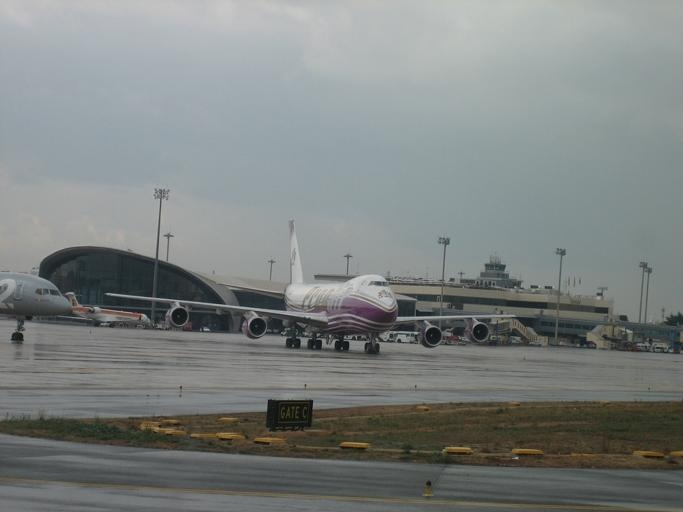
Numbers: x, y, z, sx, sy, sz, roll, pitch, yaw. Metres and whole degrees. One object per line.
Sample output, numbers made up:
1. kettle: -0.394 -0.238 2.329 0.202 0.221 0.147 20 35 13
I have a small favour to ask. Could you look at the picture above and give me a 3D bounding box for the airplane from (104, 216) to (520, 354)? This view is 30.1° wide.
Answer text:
1. airplane: -5.067 4.452 103.549 30.775 9.723 32.503 -6 2 -28
